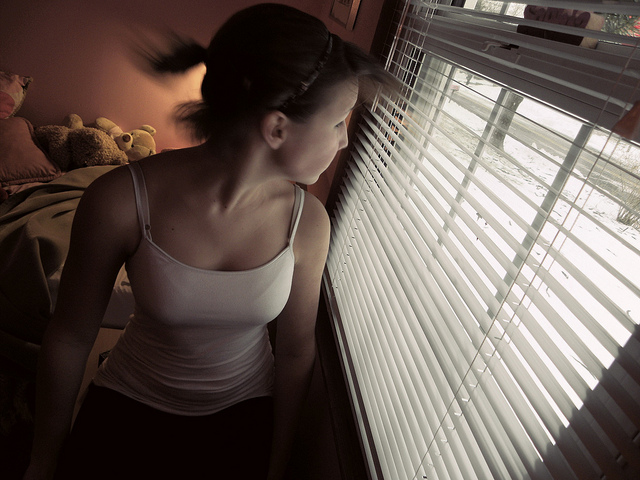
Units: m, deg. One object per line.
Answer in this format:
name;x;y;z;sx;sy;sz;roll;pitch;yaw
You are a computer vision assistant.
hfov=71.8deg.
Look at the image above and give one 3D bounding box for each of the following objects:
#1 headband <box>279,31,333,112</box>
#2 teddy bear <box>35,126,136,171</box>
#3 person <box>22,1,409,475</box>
headband;-0.020;-0.396;1.076;0.036;0.146;0.144;37;9;12
teddy bear;-1.625;-0.618;3.004;0.386;0.168;0.504;0;31;-36
person;-0.318;0.068;1.222;0.766;1.387;0.533;19;18;5
